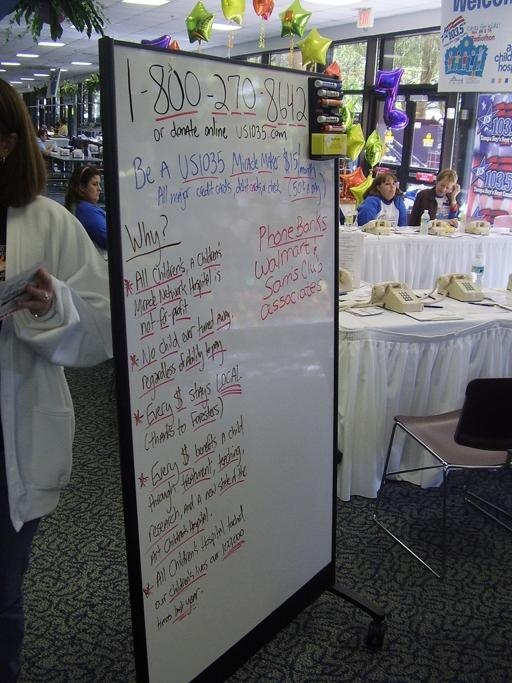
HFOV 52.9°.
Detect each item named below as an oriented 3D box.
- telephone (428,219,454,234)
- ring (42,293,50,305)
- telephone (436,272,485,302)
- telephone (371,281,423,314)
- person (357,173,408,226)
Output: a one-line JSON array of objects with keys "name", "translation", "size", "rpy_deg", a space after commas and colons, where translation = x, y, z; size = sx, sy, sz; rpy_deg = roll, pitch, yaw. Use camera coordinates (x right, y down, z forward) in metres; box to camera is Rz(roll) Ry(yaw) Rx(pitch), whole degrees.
[{"name": "telephone", "translation": [2.074, -1.258, 5.674], "size": [0.296, 0.129, 0.172], "rpy_deg": [-8, 17, -27]}, {"name": "ring", "translation": [-0.398, -0.083, 0.975], "size": [0.009, 0.015, 0.006], "rpy_deg": [0, 0, -9]}, {"name": "telephone", "translation": [1.245, -0.330, 3.110], "size": [0.205, 0.114, 0.190], "rpy_deg": [-7, 34, -36]}, {"name": "telephone", "translation": [0.776, -0.230, 2.816], "size": [0.170, 0.131, 0.226], "rpy_deg": [-14, 33, -39]}, {"name": "person", "translation": [1.501, -1.678, 6.082], "size": [0.823, 0.628, 0.320], "rpy_deg": [-5, 13, -28]}]
